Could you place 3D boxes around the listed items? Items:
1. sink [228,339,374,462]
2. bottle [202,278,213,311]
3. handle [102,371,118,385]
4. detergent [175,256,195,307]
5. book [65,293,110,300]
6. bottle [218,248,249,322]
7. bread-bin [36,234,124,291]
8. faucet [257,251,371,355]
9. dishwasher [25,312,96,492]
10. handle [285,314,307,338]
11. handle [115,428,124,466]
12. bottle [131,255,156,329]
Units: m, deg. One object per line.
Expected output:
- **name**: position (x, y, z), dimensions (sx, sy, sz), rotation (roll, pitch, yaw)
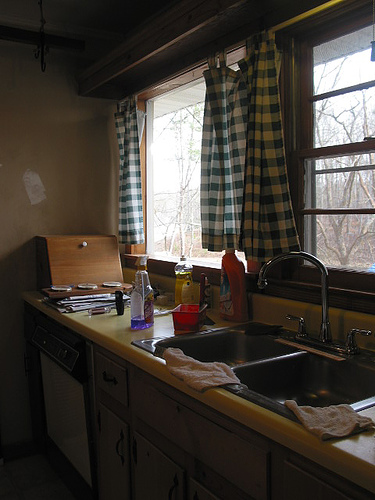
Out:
- **sink**: position (0.308, 0.356, 1.030), dimensions (0.201, 0.109, 0.266), rotation (-2, 5, -30)
- **bottle**: position (0.087, 0.198, 1.768), dimensions (0.030, 0.158, 0.150), rotation (-1, 5, 12)
- **handle**: position (-0.273, 0.453, 1.417), dimensions (0.034, 0.051, 0.049), rotation (5, 7, 38)
- **detergent**: position (-0.016, 0.162, 1.866), dimensions (0.103, 0.277, 0.073), rotation (-6, 6, -38)
- **book**: position (-0.519, 0.243, 2.081), dimensions (0.230, 0.018, 0.074), rotation (-5, 6, -27)
- **bottle**: position (0.182, 0.142, 1.632), dimensions (0.149, 0.294, 0.114), rotation (0, 5, 24)
- **bread-bin**: position (-0.647, 0.055, 2.363), dimensions (0.469, 0.370, 0.283), rotation (-2, 11, -37)
- **faucet**: position (0.418, 0.148, 1.240), dimensions (0.357, 0.289, 0.226), rotation (2, 6, 41)
- **dishwasher**: position (-0.557, 0.750, 1.876), dimensions (0.200, 0.761, 0.610), rotation (-1, 2, -37)
- **handle**: position (0.372, 0.255, 1.339), dimensions (0.078, 0.094, 0.041), rotation (4, 5, 41)
- **handle**: position (-0.235, 0.674, 1.368), dimensions (0.008, 0.126, 0.057), rotation (-5, 5, -33)
- **bottle**: position (-0.178, 0.201, 1.639), dimensions (0.089, 0.219, 0.220), rotation (-2, 5, 1)
